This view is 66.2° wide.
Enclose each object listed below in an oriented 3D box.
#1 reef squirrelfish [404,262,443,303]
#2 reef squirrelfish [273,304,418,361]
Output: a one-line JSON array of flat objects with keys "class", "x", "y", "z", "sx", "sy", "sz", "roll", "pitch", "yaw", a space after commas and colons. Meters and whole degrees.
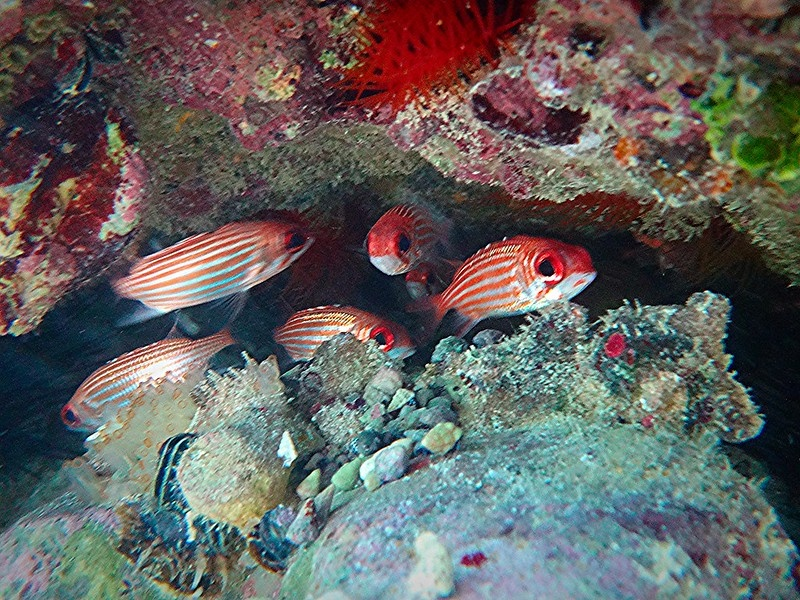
[{"class": "reef squirrelfish", "x": 0.102, "y": -0.086, "z": 2.726, "sx": 0.160, "sy": 0.153, "sz": 0.072, "roll": 1, "pitch": 26, "yaw": 27}, {"class": "reef squirrelfish", "x": -0.338, "y": 0.160, "z": 2.739, "sx": 0.836, "sy": 0.157, "sz": 0.316, "roll": -4, "pitch": 95, "yaw": 15}]
